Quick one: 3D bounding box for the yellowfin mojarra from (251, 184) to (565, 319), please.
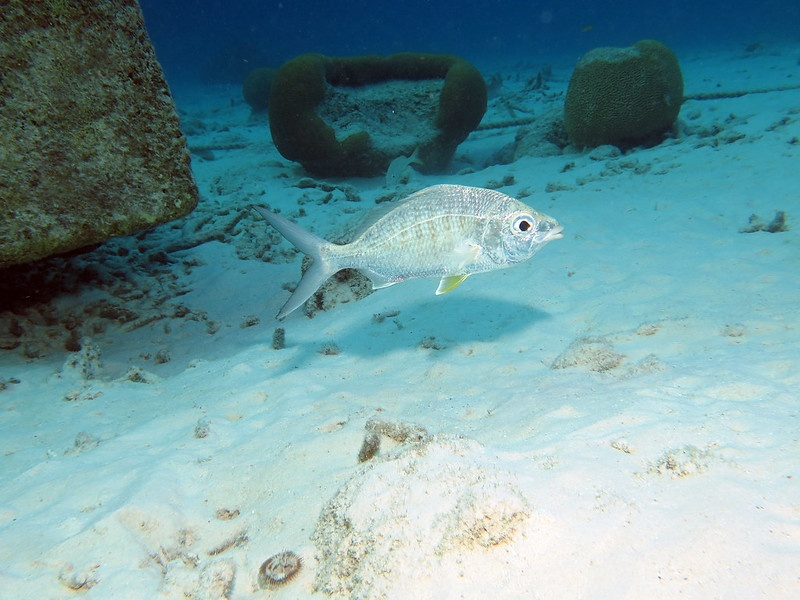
[{"bbox_3d":[-0.142,-0.683,7.247,2.962,1.290,3.984,7,10,44],"label":"yellowfin mojarra"}]
